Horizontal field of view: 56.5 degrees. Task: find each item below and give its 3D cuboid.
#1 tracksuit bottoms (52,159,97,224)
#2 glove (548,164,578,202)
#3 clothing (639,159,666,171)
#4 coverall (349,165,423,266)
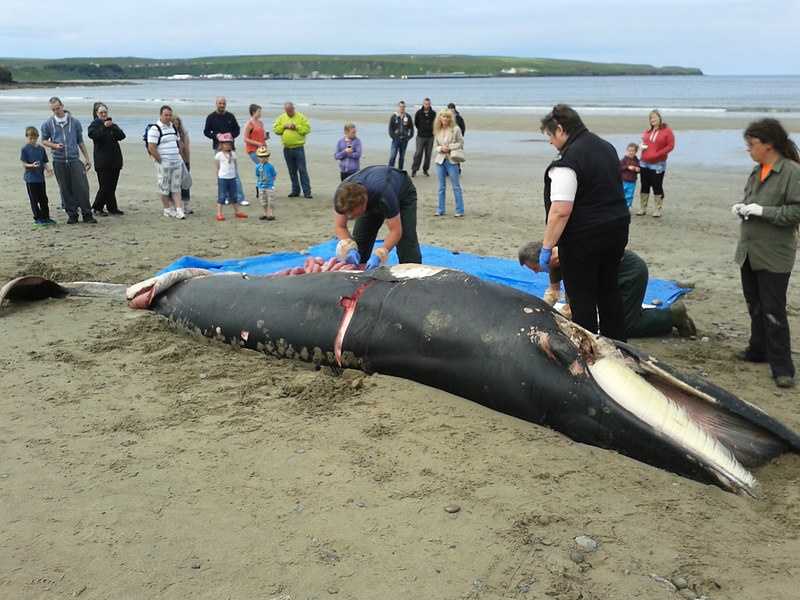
[{"bbox_3d":[-5.428,-1.817,12.333,0.515,1.011,0.297,-9,4,-17],"label":"tracksuit bottoms"},{"bbox_3d":[1.404,-0.996,6.341,0.181,0.271,0.288,-15,21,-35],"label":"glove"},{"bbox_3d":[4.254,-2.213,12.407,0.307,0.154,0.244,18,34,39],"label":"clothing"},{"bbox_3d":[-0.097,-0.839,8.045,0.789,1.101,0.724,-3,24,-19],"label":"coverall"}]
